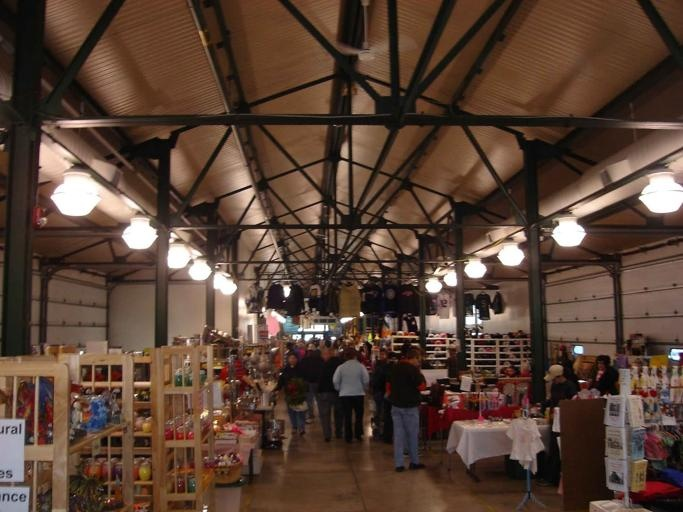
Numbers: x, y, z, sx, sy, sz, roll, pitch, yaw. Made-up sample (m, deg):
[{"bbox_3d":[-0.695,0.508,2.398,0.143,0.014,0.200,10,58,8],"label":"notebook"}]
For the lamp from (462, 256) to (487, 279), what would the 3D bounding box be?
[{"bbox_3d":[2.839,0.279,12.505,0.643,0.492,0.607,3,-6,-5],"label":"lamp"}]

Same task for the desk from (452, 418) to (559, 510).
[{"bbox_3d":[2.177,2.883,8.666,1.458,0.886,1.054,0,-10,-1],"label":"desk"}]

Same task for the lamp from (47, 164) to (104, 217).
[{"bbox_3d":[-2.931,-0.724,6.677,0.472,0.556,0.407,-5,2,-25],"label":"lamp"}]

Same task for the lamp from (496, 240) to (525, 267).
[{"bbox_3d":[2.933,0.016,10.355,0.553,0.462,0.520,6,-9,-20],"label":"lamp"}]

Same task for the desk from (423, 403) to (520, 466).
[{"bbox_3d":[1.854,2.698,9.241,1.110,0.416,1.049,2,-4,-24],"label":"desk"}]

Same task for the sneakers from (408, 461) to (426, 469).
[{"bbox_3d":[1.178,3.272,9.510,0.266,0.094,0.090,0,-4,-4],"label":"sneakers"}]

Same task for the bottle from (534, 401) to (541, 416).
[{"bbox_3d":[2.949,2.312,9.194,0.115,0.161,0.105,0,-8,0],"label":"bottle"}]

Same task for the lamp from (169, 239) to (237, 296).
[{"bbox_3d":[-2.838,0.222,11.953,0.658,0.716,3.580,0,1,-21],"label":"lamp"}]

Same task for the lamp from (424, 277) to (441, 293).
[{"bbox_3d":[2.262,0.710,15.524,0.452,0.266,0.435,17,-35,-38],"label":"lamp"}]

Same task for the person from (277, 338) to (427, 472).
[{"bbox_3d":[0.616,2.510,10.371,0.992,1.456,2.268,-5,2,-17],"label":"person"}]

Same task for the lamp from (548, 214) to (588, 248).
[{"bbox_3d":[3.367,-0.386,9.036,0.533,0.409,0.507,0,-13,3],"label":"lamp"}]

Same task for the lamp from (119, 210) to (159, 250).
[{"bbox_3d":[-2.844,-0.314,8.534,0.522,0.534,0.531,-7,-10,38],"label":"lamp"}]
